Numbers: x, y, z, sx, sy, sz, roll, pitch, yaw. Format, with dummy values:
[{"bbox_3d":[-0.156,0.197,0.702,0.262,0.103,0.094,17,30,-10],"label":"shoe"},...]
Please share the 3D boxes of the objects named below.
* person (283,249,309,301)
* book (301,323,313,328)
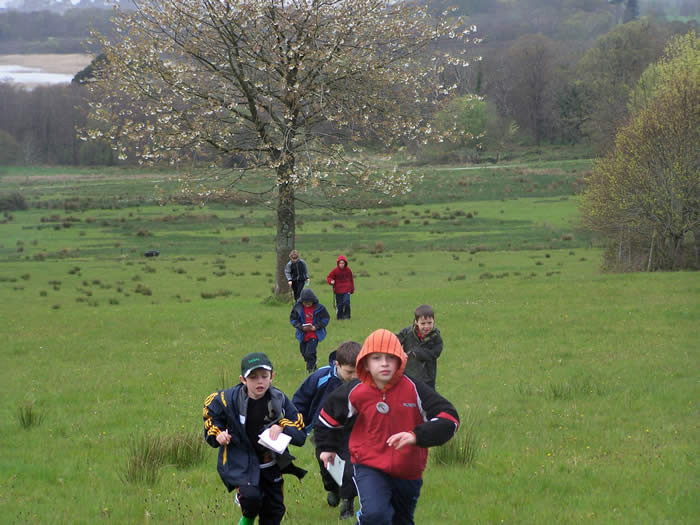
[{"bbox_3d":[-2.873,0.763,49.513,1.214,3.477,0.889,-9,35,-9],"label":"person"},{"bbox_3d":[-1.859,2.736,40.137,0.451,0.211,0.089,-1,7,-6],"label":"book"}]
